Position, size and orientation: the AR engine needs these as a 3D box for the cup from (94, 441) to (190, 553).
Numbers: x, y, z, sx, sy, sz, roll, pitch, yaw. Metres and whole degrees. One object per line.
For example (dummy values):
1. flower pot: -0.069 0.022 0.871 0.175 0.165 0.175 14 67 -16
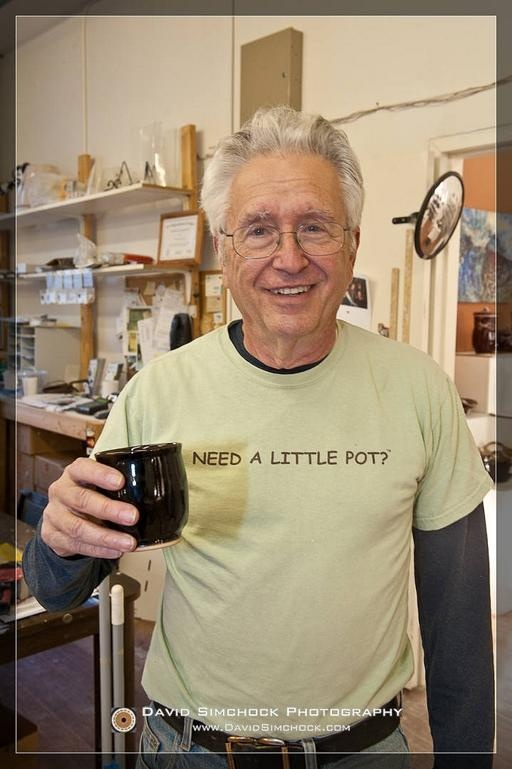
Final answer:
1. cup: -0.150 0.151 0.799 0.122 0.140 0.124 -8 -5 -1

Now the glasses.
1. glasses: 0.043 -0.213 0.930 0.178 0.047 0.044 1 0 7
